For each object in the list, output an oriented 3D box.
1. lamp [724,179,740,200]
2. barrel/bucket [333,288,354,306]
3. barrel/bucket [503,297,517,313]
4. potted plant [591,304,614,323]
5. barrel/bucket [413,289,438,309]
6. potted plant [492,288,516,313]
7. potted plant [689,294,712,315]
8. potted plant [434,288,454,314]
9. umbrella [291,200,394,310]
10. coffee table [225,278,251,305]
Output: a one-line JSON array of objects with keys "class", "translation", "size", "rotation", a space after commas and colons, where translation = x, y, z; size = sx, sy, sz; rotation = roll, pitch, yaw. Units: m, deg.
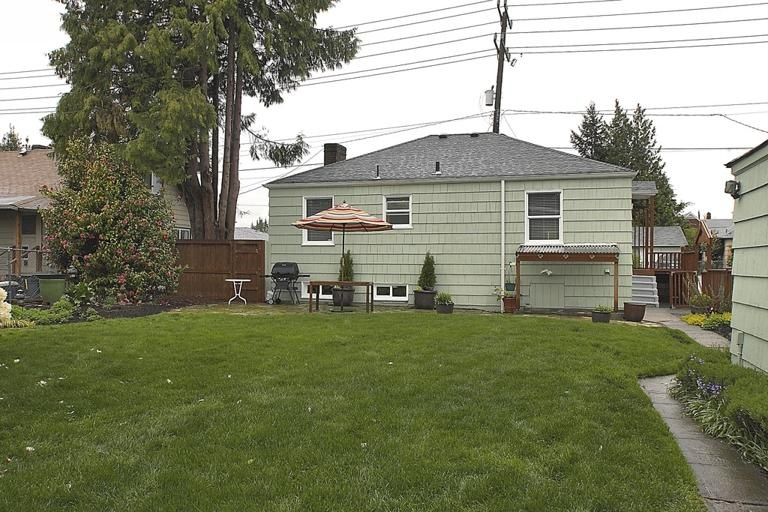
[{"class": "lamp", "translation": [7.613, -1.478, 15.413], "size": [0.300, 0.434, 0.361], "rotation": [1, -2, 19]}, {"class": "barrel/bucket", "translation": [-1.356, 1.352, 23.870], "size": [0.681, 0.576, 0.602], "rotation": [1, -6, -17]}, {"class": "barrel/bucket", "translation": [4.135, 1.579, 23.205], "size": [0.427, 0.598, 0.459], "rotation": [-1, -3, 0]}, {"class": "potted plant", "translation": [6.367, 1.699, 20.668], "size": [0.547, 0.593, 0.575], "rotation": [1, -7, -2]}, {"class": "barrel/bucket", "translation": [1.361, 1.434, 23.765], "size": [0.829, 0.684, 0.513], "rotation": [1, 2, 27]}, {"class": "potted plant", "translation": [4.081, 1.448, 23.519], "size": [0.701, 1.049, 0.656], "rotation": [-1, -4, 5]}, {"class": "potted plant", "translation": [10.482, 1.562, 23.360], "size": [0.590, 0.606, 0.611], "rotation": [3, -4, -23]}, {"class": "potted plant", "translation": [1.955, 1.484, 22.765], "size": [0.605, 0.744, 0.555], "rotation": [1, -9, -8]}, {"class": "umbrella", "translation": [-1.445, 0.101, 22.757], "size": [3.163, 3.511, 3.402], "rotation": [-2, -1, 14]}, {"class": "coffee table", "translation": [-5.121, 1.199, 24.707], "size": [0.770, 0.796, 0.869], "rotation": [-1, -3, -2]}]
